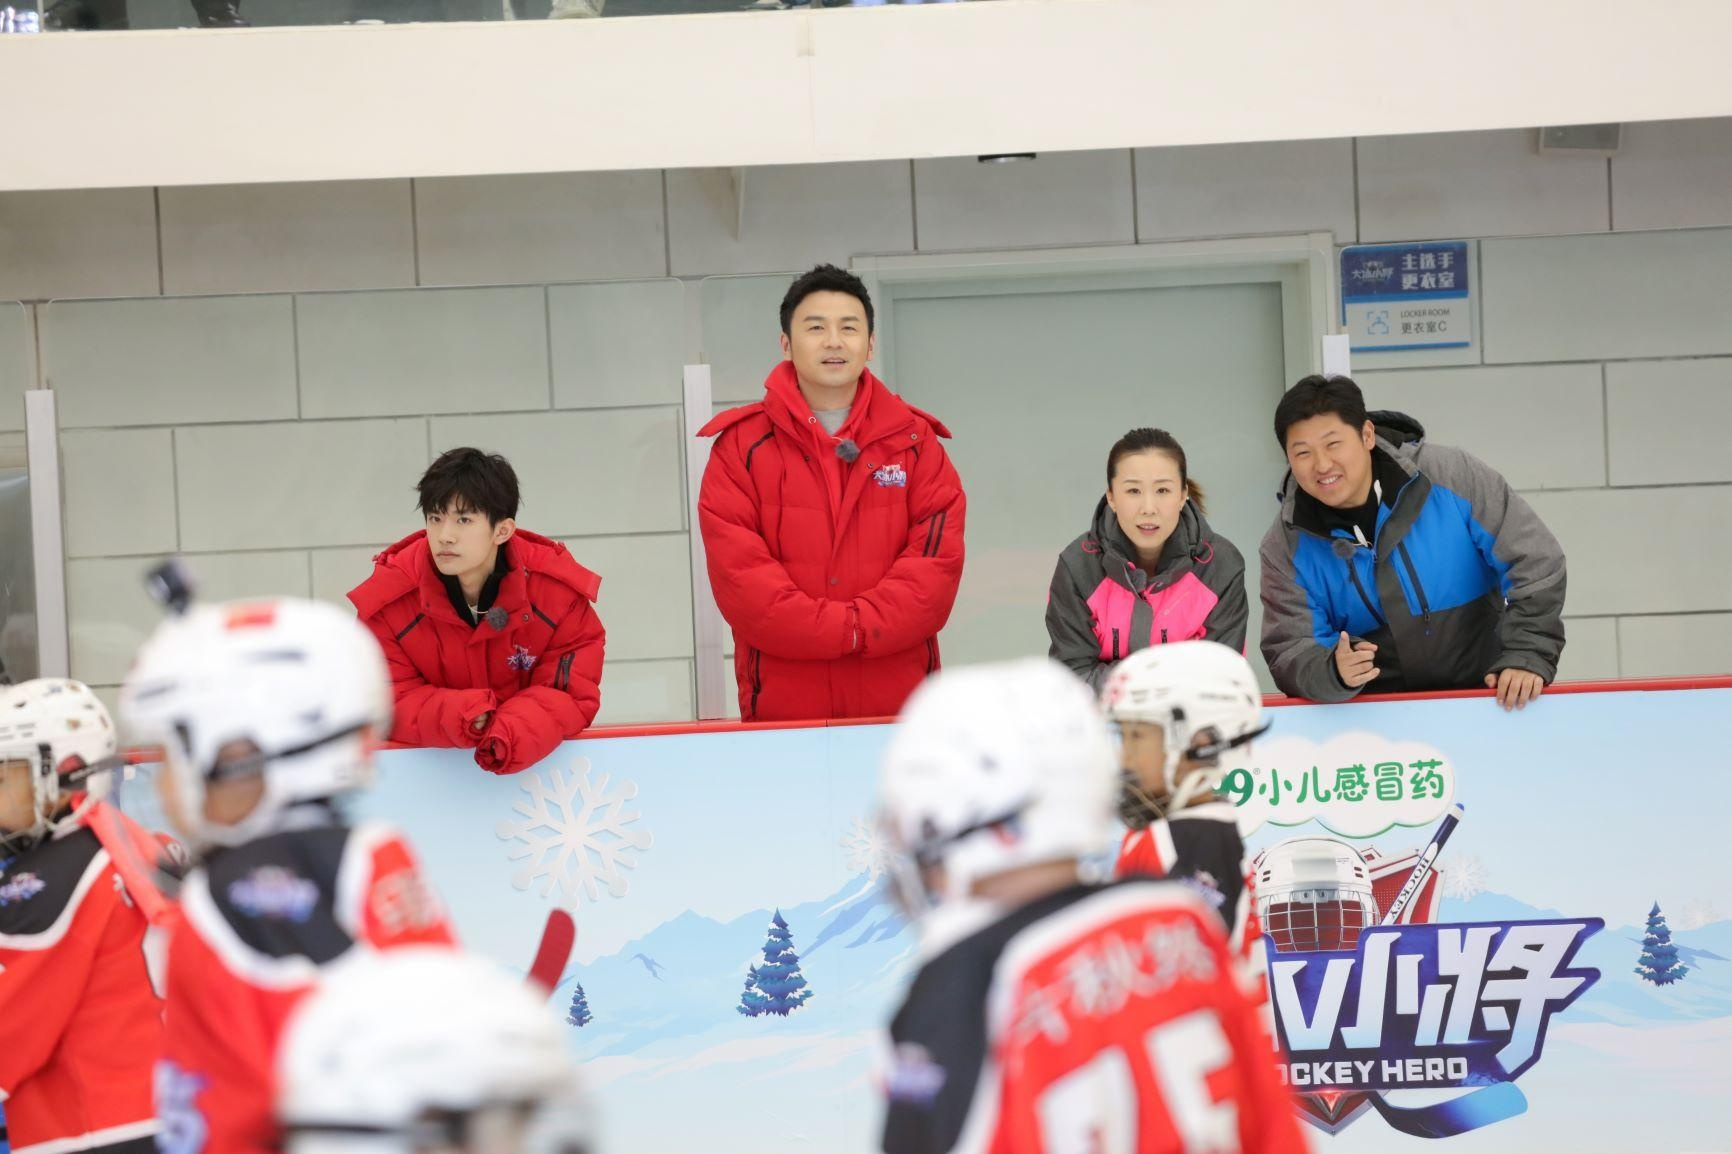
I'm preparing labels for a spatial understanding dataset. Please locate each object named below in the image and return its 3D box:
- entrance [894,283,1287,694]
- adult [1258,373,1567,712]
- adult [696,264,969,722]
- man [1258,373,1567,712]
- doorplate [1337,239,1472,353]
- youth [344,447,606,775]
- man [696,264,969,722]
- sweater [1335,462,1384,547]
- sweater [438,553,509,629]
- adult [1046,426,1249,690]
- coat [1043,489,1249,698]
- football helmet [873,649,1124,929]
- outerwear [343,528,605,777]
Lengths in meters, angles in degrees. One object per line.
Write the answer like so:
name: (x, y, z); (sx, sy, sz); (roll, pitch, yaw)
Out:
entrance: (0.928, -0.329, 6.304); (1.690, 1.998, 0.153); (-2, -9, 15)
adult: (1.926, -0.005, 5.701); (1.000, 1.308, 1.008); (-12, 30, 21)
adult: (-0.150, 0.070, 6.004); (1.022, 2.418, 0.803); (-3, 26, -8)
man: (1.919, 0.011, 5.698); (1.004, 1.292, 1.035); (-13, 30, 19)
doorplate: (2.443, -1.284, 7.272); (0.556, 0.498, 0.055); (2, 24, 29)
youth: (-1.387, 0.178, 5.658); (0.881, 1.187, 0.844); (5, 22, -1)
man: (-0.148, 0.072, 5.998); (1.027, 2.429, 0.791); (-4, 27, -10)
sweater: (1.749, -0.247, 5.661); (0.162, 0.217, 0.173); (-6, -4, 1)
sweater: (-1.339, 0.048, 5.511); (0.165, 0.234, 0.165); (-6, 2, -7)
adult: (0.991, 0.043, 5.716); (0.728, 1.025, 0.667); (-3, 16, -4)
coat: (1.003, 0.077, 5.796); (0.684, 0.703, 0.450); (2, 25, 9)
football helmet: (0.303, 0.526, 3.623); (0.639, 0.599, 0.520); (-9, -12, 17)
outerwear: (-1.374, 0.209, 5.648); (0.845, 0.275, 1.092); (-22, 56, -19)
